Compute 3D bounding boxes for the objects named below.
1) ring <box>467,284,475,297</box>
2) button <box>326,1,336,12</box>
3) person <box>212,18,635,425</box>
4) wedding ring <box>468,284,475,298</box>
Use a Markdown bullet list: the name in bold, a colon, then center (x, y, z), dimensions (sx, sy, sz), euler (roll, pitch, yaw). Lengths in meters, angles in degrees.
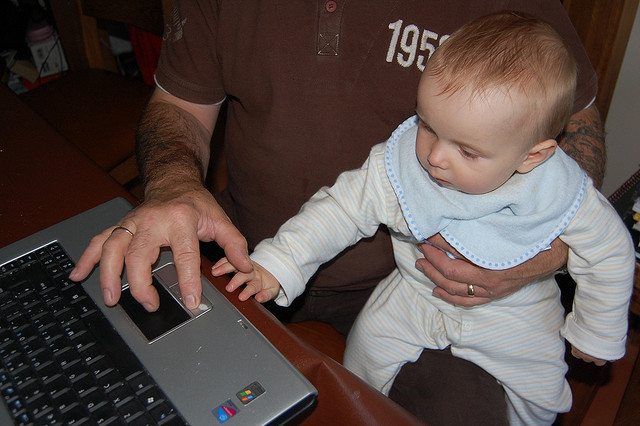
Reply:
- **ring**: center (0.373, 0.189, 1.282), dimensions (0.014, 0.026, 0.006), euler (3, 11, 5)
- **button**: center (0.028, -0.528, 1.350), dimensions (0.021, 0.023, 0.007), euler (3, 8, 2)
- **person**: center (0.281, 0.090, 1.247), dimensions (0.891, 0.909, 0.465), euler (-9, 38, -5)
- **wedding ring**: center (0.372, 0.189, 1.284), dimensions (0.018, 0.024, 0.023), euler (-3, 10, 9)
